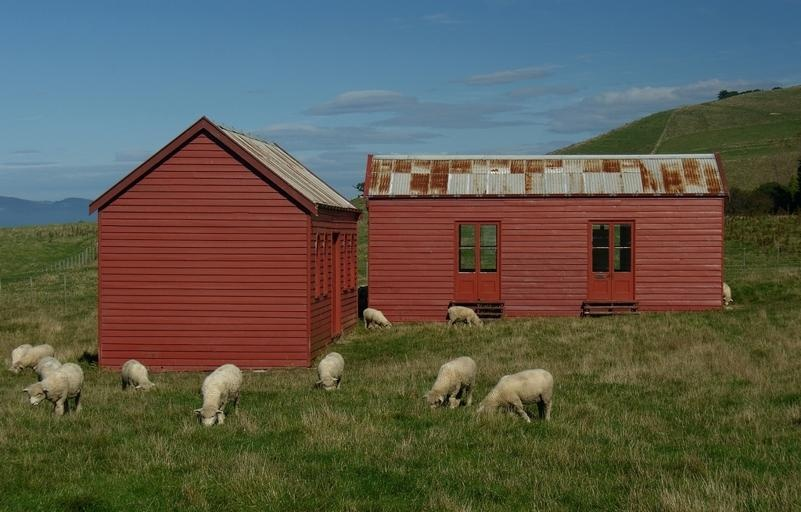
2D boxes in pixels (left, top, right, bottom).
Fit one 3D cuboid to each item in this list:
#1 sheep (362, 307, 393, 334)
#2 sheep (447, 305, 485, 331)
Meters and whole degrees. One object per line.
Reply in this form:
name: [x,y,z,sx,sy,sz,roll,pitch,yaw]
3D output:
sheep: [-1.001,2.735,43.694,1.249,0.749,0.645,8,16,38]
sheep: [2.741,2.606,43.403,1.981,0.754,1.381,5,14,27]
